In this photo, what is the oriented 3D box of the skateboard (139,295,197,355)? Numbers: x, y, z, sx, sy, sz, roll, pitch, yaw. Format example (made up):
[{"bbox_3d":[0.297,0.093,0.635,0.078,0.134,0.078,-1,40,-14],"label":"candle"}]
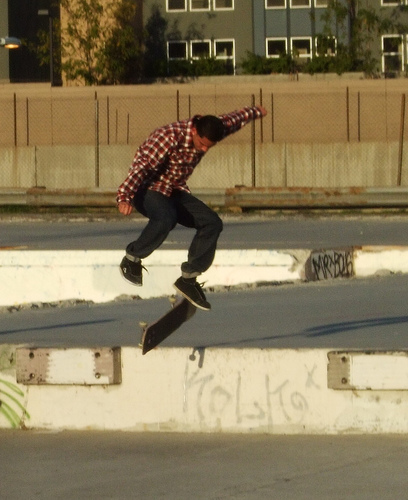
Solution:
[{"bbox_3d":[-0.420,0.761,15.596,0.209,0.315,1.183,-19,9,28],"label":"skateboard"}]

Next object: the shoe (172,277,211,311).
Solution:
[{"bbox_3d":[-0.138,0.497,16.684,0.303,0.349,0.431,-7,10,-38],"label":"shoe"}]

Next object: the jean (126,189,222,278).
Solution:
[{"bbox_3d":[-0.315,-0.191,16.736,1.045,1.011,0.335,-1,6,-4],"label":"jean"}]

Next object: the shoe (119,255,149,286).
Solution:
[{"bbox_3d":[-0.834,0.211,16.926,0.221,0.267,0.526,9,16,-33],"label":"shoe"}]
